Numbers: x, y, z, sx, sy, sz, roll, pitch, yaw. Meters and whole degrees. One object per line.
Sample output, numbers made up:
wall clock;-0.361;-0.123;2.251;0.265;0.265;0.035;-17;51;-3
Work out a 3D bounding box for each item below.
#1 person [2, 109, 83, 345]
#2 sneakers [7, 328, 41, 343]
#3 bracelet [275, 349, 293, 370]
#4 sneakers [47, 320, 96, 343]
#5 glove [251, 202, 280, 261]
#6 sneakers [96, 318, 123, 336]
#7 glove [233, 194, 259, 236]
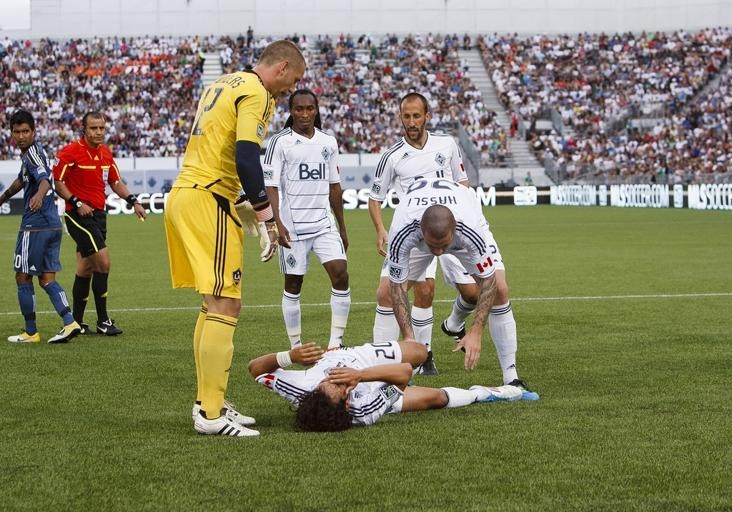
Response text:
person;-5.409;-0.463;18.724;1.068;3.745;1.040;-3;5;-18
sneakers;-5.573;1.303;18.683;0.559;0.220;0.199;3;0;4
bracelet;-1.136;1.451;16.194;0.259;0.190;0.206;10;-15;-30
sneakers;-4.847;1.239;18.689;0.691;0.293;0.256;-27;-16;6
glove;-1.435;-0.317;16.271;0.270;0.803;0.344;-2;28;-1
sneakers;-4.319;1.195;19.015;0.479;0.223;0.207;1;2;24
glove;-1.711;-0.549;16.197;0.386;0.519;0.143;-10;24;47
